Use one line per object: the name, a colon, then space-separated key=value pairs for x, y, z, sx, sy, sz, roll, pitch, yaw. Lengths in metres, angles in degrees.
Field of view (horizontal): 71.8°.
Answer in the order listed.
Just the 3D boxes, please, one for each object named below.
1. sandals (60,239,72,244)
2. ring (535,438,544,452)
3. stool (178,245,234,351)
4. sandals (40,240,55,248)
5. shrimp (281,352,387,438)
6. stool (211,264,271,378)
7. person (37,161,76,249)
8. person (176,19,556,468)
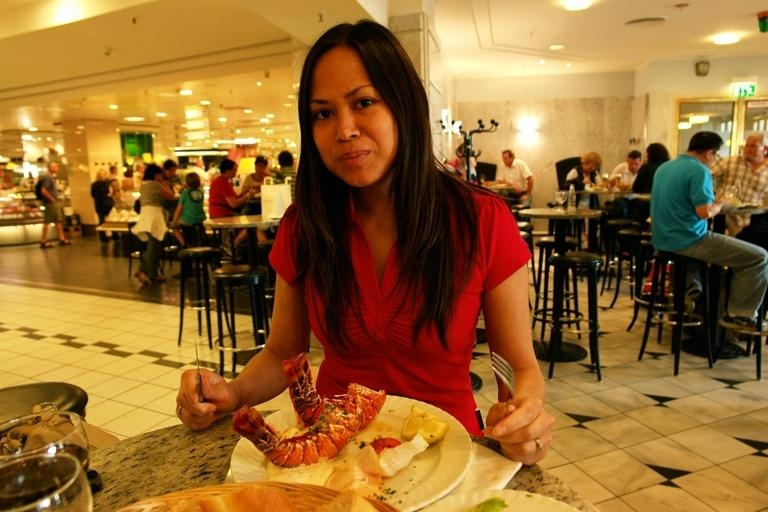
sandals: x=-7.718 y=-0.353 z=12.846 sx=0.322 sy=0.108 sz=0.115 roll=2 pitch=8 yaw=25
ring: x=0.517 y=0.627 z=1.774 sx=0.037 sy=0.040 sz=0.012 roll=-5 pitch=10 yaw=-31
stool: x=-1.895 y=0.469 z=5.606 sx=0.597 sy=1.030 sz=0.584 roll=5 pitch=12 yaw=35
sandals: x=-7.918 y=-0.265 z=12.462 sx=0.235 sy=0.136 sz=0.398 roll=-10 pitch=13 yaw=-43
shrimp: x=-0.208 y=0.482 z=1.985 sx=0.389 sy=0.249 sz=0.292 roll=-5 pitch=9 yaw=-19
stool: x=-1.324 y=0.537 z=4.888 sx=0.646 sy=1.167 sz=0.661 roll=-5 pitch=10 yaw=-16
person: x=-8.321 y=-1.225 z=13.465 sx=0.753 sy=2.645 sz=0.721 roll=-4 pitch=15 yaw=-23
person: x=-0.140 y=0.238 z=2.212 sx=1.162 sy=1.987 sz=1.043 roll=-6 pitch=16 yaw=-30
